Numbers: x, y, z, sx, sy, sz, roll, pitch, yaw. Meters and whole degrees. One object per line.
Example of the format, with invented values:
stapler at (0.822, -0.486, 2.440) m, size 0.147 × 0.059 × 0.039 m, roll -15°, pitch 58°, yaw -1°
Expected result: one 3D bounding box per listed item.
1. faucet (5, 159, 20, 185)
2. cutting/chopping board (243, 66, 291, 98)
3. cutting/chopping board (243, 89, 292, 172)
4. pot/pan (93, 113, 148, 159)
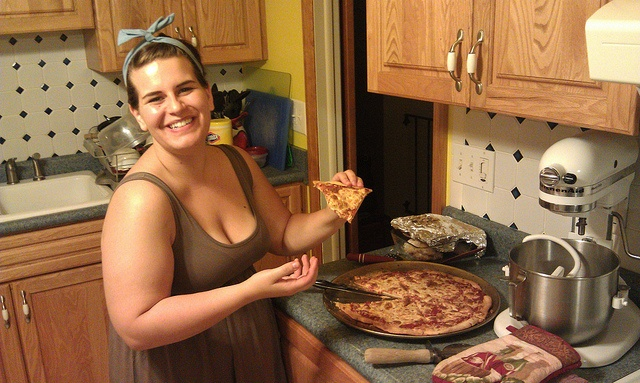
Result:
faucet at (-1.938, -0.132, 3.231) m, size 0.076 × 0.157 × 0.130 m, roll -11°, pitch 16°, yaw -28°
cutting/chopping board at (-0.352, -0.740, 3.501) m, size 0.011 × 0.170 × 0.295 m, roll -13°, pitch 21°, yaw -43°
cutting/chopping board at (-0.392, -0.454, 3.563) m, size 0.041 × 0.462 × 0.517 m, roll -14°, pitch 30°, yaw -37°
pot/pan at (-1.160, -0.317, 3.024) m, size 0.354 × 0.163 × 0.394 m, roll -37°, pitch 15°, yaw -25°
